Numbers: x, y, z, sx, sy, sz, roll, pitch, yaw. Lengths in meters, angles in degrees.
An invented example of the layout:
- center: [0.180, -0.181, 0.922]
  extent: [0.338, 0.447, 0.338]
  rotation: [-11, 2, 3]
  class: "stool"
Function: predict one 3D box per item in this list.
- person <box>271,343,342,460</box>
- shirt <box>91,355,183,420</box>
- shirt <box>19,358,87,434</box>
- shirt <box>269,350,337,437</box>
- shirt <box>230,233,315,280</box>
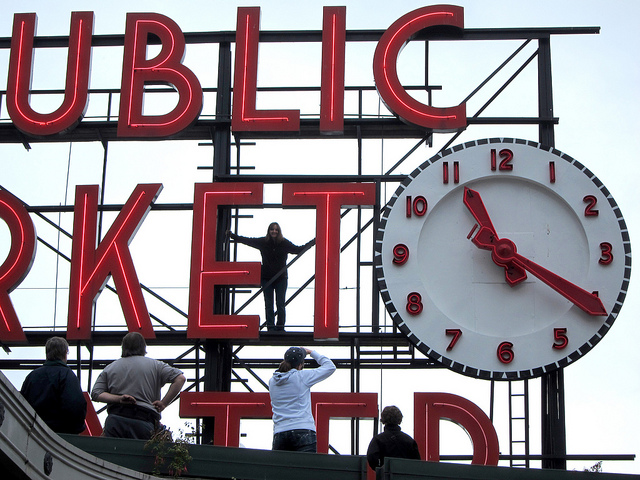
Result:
- center: [-0.345, 3.322, 23.463]
  extent: [1.207, 0.926, 2.917]
  rotation: [-4, 83, 30]
  class: "person"
- center: [-3.261, 2.613, 22.949]
  extent: [1.483, 0.708, 1.201]
  rotation: [2, 71, 9]
  class: "shirt"
- center: [-4.543, 2.636, 22.080]
  extent: [1.297, 0.757, 1.288]
  rotation: [-6, 68, 22]
  class: "shirt"
- center: [-0.419, 2.754, 23.395]
  extent: [0.989, 0.731, 1.563]
  rotation: [16, 69, 18]
  class: "shirt"
- center: [-1.063, 0.336, 30.701]
  extent: [2.156, 1.052, 0.423]
  rotation: [5, 18, -2]
  class: "shirt"
